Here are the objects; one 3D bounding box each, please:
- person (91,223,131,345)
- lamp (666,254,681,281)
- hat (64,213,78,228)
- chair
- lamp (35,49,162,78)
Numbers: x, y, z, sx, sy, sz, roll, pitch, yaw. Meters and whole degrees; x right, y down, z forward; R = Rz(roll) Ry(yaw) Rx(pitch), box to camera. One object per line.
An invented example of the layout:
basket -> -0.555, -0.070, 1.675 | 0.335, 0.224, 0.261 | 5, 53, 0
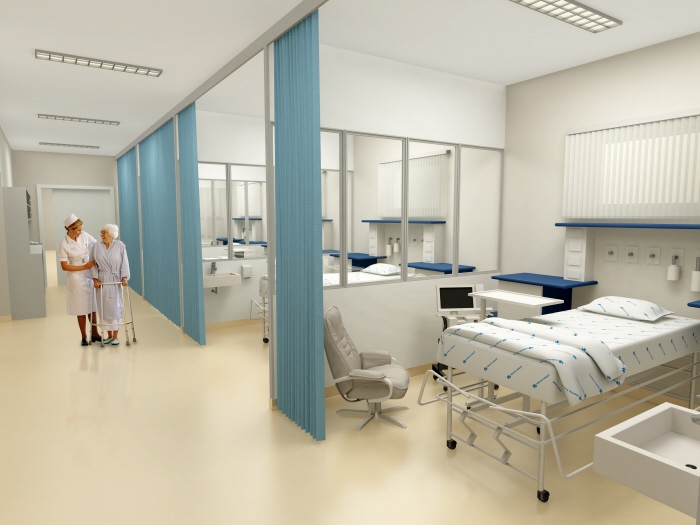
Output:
person -> -3.449, 0.318, 6.909 | 0.450, 1.730, 0.560 | -7, 14, -28
lamp -> 3.292, 0.058, 4.888 | 0.126, 0.279, 0.127 | 11, 17, 41
hat -> -3.998, -0.587, 6.861 | 0.171, 0.191, 0.317 | -8, 14, -30
chair -> 0.109, 0.995, 5.016 | 1.042, 1.331, 0.978 | 1, 5, 6
lamp -> -2.857, -2.247, 5.473 | 1.285, 0.143, 0.375 | -6, 13, -27
